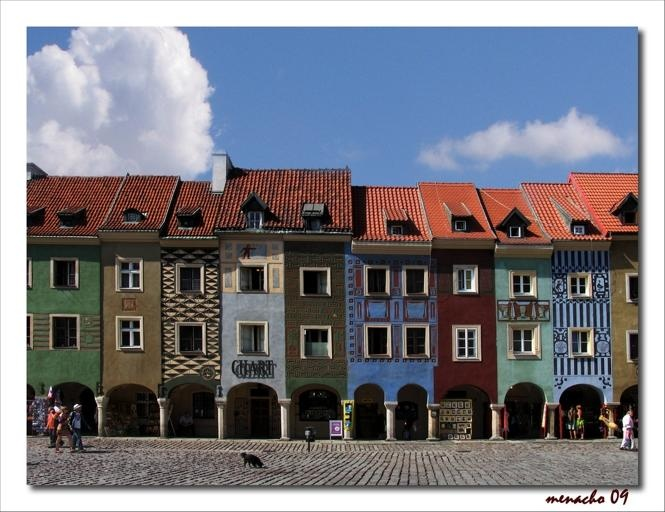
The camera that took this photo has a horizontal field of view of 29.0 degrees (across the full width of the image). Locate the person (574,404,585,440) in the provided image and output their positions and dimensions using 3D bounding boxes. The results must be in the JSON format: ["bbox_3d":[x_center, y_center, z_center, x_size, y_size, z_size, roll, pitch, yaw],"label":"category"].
[{"bbox_3d":[15.030,10.047,78.203,0.446,1.973,1.264,-5,-12,19],"label":"person"}]

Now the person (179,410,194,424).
[{"bbox_3d":[-8.970,9.771,78.923,0.931,0.935,0.593,1,-27,-10],"label":"person"}]

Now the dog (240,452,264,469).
[{"bbox_3d":[-4.386,11.188,70.888,1.170,0.941,1.821,0,-12,-5],"label":"dog"}]
